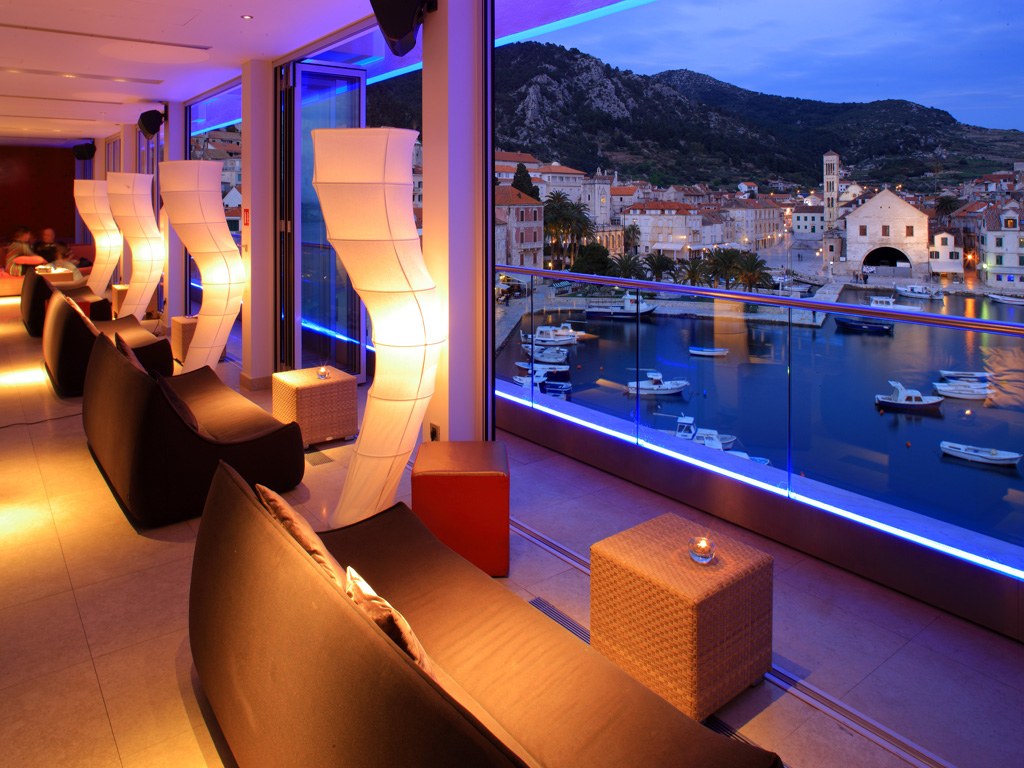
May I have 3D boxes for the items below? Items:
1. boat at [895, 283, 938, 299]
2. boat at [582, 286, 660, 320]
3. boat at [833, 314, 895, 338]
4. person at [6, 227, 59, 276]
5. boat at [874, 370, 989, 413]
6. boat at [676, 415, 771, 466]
[{"bbox_3d":[13.346,-3.054,24.615,0.519,0.584,1.856,-2,10,-19],"label":"boat"},{"bbox_3d":[0.784,-0.610,5.489,0.191,0.224,0.537,-6,8,-43],"label":"boat"},{"bbox_3d":[1.988,-0.327,4.214,0.266,0.085,0.159,6,17,7],"label":"boat"},{"bbox_3d":[-8.961,-2.530,14.039,0.809,0.802,1.798,-6,16,-22],"label":"person"},{"bbox_3d":[2.653,0.062,4.708,0.510,0.148,0.339,-6,12,21],"label":"boat"},{"bbox_3d":[1.427,0.386,5.025,0.580,0.222,0.136,23,16,37],"label":"boat"}]
